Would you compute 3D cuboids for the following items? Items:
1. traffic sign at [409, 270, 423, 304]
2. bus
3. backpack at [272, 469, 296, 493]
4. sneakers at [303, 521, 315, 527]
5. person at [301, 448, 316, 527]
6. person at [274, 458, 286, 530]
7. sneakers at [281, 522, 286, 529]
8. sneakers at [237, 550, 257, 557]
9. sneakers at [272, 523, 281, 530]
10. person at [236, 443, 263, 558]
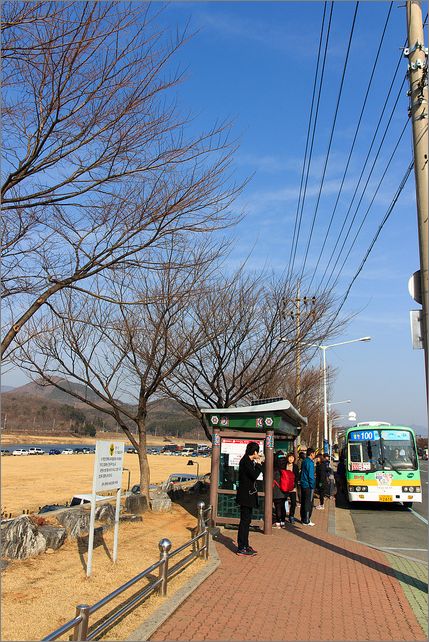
[{"bbox_3d":[2.451,-0.409,4.693,0.136,0.444,0.234,-8,-15,29],"label":"traffic sign"},{"bbox_3d":[6.730,5.759,15.568,2.624,2.827,1.025,-6,-14,20],"label":"bus"},{"bbox_3d":[1.931,4.282,10.269,0.474,0.686,0.628,20,-32,-40],"label":"backpack"},{"bbox_3d":[2.574,5.542,10.519,0.332,0.154,0.128,1,-4,9],"label":"sneakers"},{"bbox_3d":[2.527,4.530,10.451,0.412,2.042,0.919,-3,-13,11],"label":"person"},{"bbox_3d":[1.710,4.558,10.170,0.319,1.777,0.835,-3,-13,8],"label":"person"},{"bbox_3d":[1.819,5.402,10.214,0.127,0.224,0.133,-2,-5,8],"label":"sneakers"},{"bbox_3d":[0.580,4.102,6.880,0.332,0.153,0.127,1,-10,6],"label":"sneakers"},{"bbox_3d":[1.653,5.401,10.183,0.259,0.187,0.092,-1,-5,21],"label":"sneakers"},{"bbox_3d":[0.631,3.251,7.065,0.479,1.972,0.720,-2,-13,7],"label":"person"}]
